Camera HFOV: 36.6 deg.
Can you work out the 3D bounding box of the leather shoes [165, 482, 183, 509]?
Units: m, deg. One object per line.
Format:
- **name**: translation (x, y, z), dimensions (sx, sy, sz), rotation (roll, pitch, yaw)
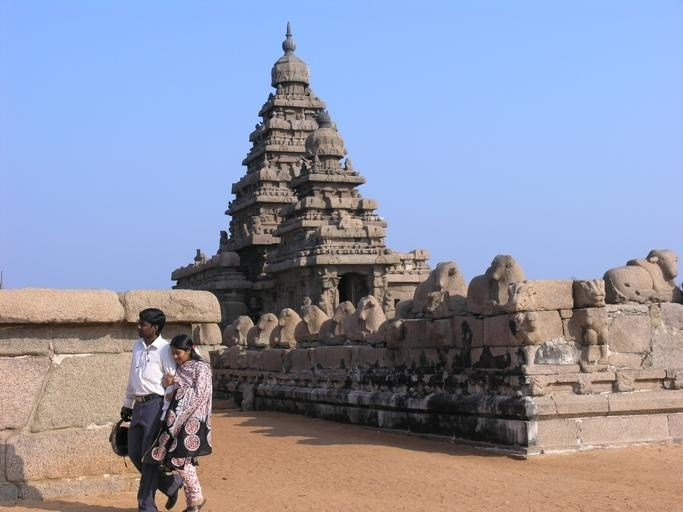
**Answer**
- **leather shoes**: translation (-1.964, 2.770, 12.087), dimensions (0.189, 0.427, 0.143), rotation (8, 7, -7)
